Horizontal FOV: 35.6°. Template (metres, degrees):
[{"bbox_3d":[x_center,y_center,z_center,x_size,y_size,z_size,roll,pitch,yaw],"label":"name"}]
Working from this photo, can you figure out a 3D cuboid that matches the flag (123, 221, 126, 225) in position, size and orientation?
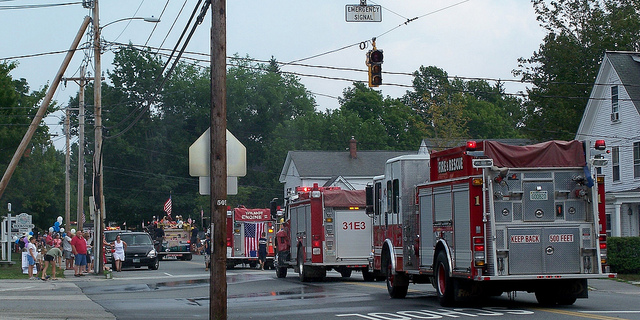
[{"bbox_3d":[-24.869,8.004,126.474,0.454,0.470,0.441,5,-14,-8],"label":"flag"}]

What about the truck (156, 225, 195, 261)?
[{"bbox_3d":[-13.748,8.380,96.706,3.713,3.152,5.951,-1,-8,-1],"label":"truck"}]

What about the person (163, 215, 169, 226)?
[{"bbox_3d":[-14.756,5.909,95.505,0.537,0.940,2.392,2,-1,-9],"label":"person"}]

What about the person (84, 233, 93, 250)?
[{"bbox_3d":[-19.418,6.798,83.560,1.014,1.332,0.543,4,-15,-12],"label":"person"}]

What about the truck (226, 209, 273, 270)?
[{"bbox_3d":[-6.002,6.457,83.997,3.399,3.145,5.327,1,-2,-11],"label":"truck"}]

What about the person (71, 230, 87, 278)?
[{"bbox_3d":[-18.856,7.459,78.596,0.995,3.834,1.088,2,0,25],"label":"person"}]

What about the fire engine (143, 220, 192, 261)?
[{"bbox_3d":[-14.632,8.425,96.727,4.002,3.541,6.557,-1,-9,-12],"label":"fire engine"}]

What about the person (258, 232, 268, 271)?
[{"bbox_3d":[-4.840,7.671,83.102,0.621,3.176,1.473,2,-1,2],"label":"person"}]
